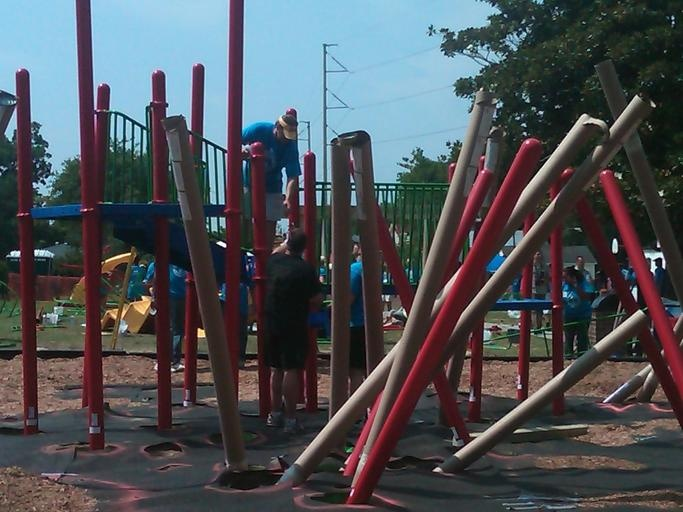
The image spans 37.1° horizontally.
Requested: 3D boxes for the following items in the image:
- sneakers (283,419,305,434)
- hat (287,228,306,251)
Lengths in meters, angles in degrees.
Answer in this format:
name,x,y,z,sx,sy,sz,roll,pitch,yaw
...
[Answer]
name,x,y,z,sx,sy,sz,roll,pitch,yaw
sneakers,-0.535,1.947,11.558,0.103,0.131,0.279,1,-1,25
hat,-0.531,-0.166,11.680,0.173,0.270,0.254,4,6,-1
